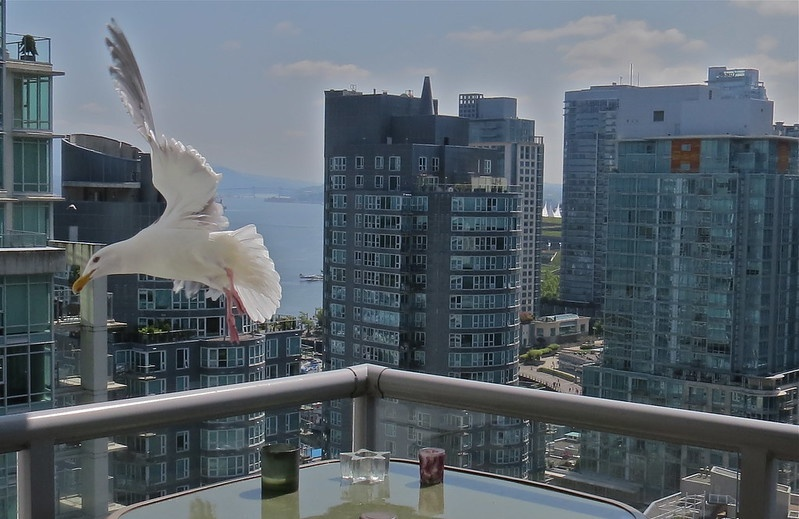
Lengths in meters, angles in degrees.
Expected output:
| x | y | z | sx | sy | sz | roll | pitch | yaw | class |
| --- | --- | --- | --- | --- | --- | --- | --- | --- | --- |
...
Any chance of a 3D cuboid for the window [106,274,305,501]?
| x | y | z | sx | sy | sz | roll | pitch | yaw | class |
| --- | --- | --- | --- | --- | --- | --- | --- | --- | --- |
| -8.341 | 5.269 | 55.437 | 6.746 | 10.018 | 8.728 | -3 | 3 | -34 | window |
